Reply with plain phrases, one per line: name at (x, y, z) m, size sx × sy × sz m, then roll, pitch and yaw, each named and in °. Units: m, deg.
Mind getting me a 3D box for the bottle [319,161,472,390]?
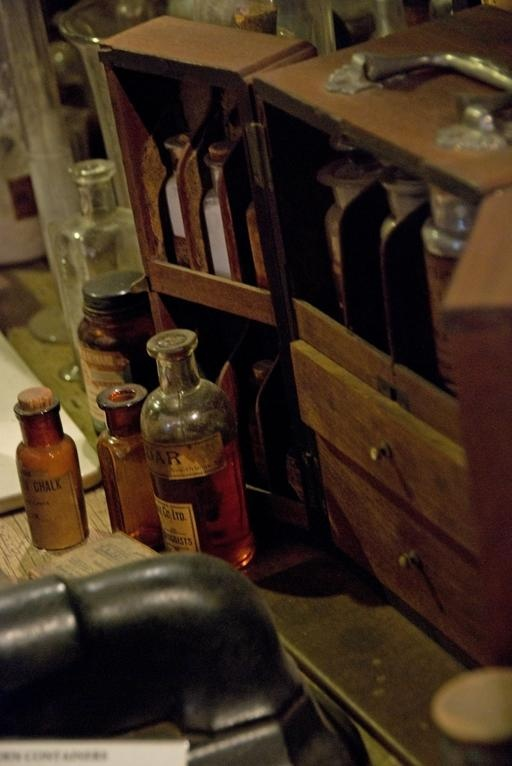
bottle at (0.100, -0.078, 0.503) m, size 0.083 × 0.132 × 0.141 m, roll -27°, pitch 43°, yaw -11°
